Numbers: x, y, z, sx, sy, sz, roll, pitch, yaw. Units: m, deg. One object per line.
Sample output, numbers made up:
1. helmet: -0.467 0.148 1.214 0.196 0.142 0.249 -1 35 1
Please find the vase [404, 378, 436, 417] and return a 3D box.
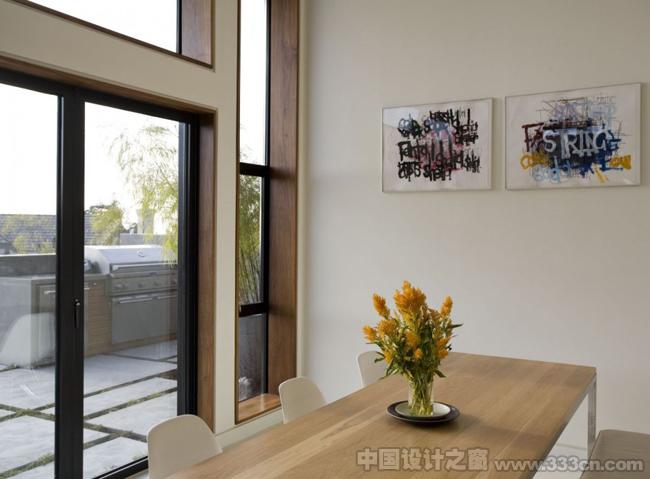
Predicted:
1. vase: 0.478 0.789 2.352 0.144 0.181 0.155 -2 -14 18
